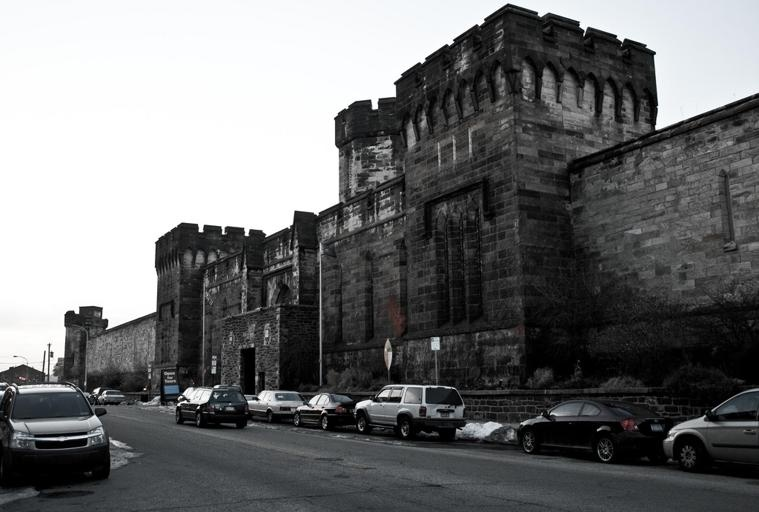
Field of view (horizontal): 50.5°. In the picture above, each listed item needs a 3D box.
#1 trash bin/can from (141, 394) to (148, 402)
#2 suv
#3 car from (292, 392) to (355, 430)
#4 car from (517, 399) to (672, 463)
[{"bbox_3d":[-24.781,14.897,84.943,0.636,0.874,2.594,6,-17,-24],"label":"trash bin/can"},{"bbox_3d":[1.339,6.543,33.820,2.100,1.672,4.270,10,-12,-34],"label":"suv"},{"bbox_3d":[-2.601,7.463,38.700,0.871,1.849,3.788,11,-19,-39],"label":"car"},{"bbox_3d":[7.163,5.784,27.119,1.997,1.461,4.317,12,-16,-34],"label":"car"}]
